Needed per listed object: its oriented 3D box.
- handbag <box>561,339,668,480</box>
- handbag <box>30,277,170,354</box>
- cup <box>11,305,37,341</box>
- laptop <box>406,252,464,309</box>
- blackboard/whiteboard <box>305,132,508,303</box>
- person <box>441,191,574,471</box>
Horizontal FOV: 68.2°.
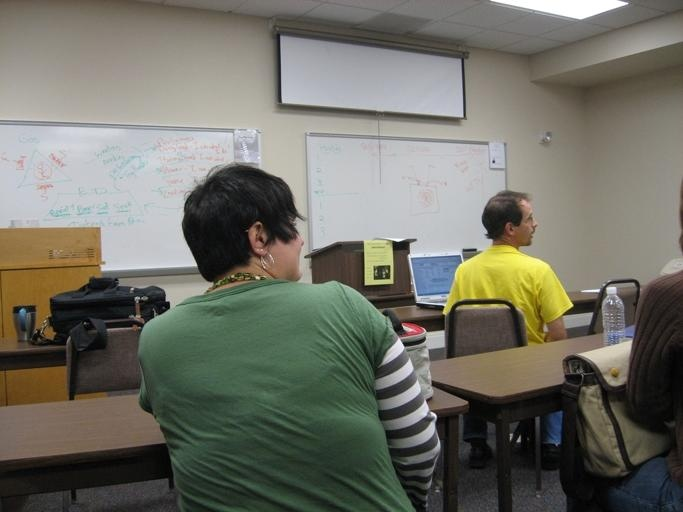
[{"bbox_3d":[0.859,0.502,1.576,0.167,0.392,0.400,-18,-5,43],"label":"handbag"},{"bbox_3d":[-1.339,0.232,2.830,0.694,0.359,0.521,-1,-1,-33],"label":"handbag"},{"bbox_3d":[-1.847,0.385,2.952,0.110,0.189,0.140,0,5,-7],"label":"cup"},{"bbox_3d":[0.710,0.153,3.957,0.429,0.342,0.371,0,2,-33],"label":"laptop"},{"bbox_3d":[0.493,-0.401,4.581,1.601,1.191,0.036,-3,3,-24],"label":"blackboard/whiteboard"},{"bbox_3d":[0.960,0.450,2.918,0.654,1.579,0.589,1,-2,26],"label":"person"}]
